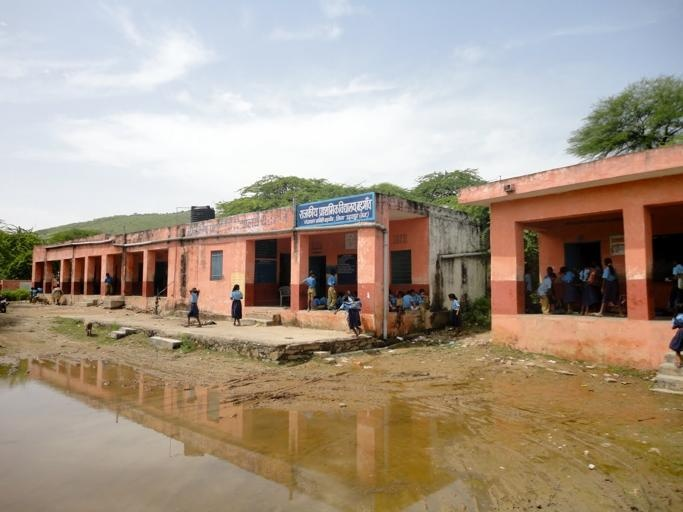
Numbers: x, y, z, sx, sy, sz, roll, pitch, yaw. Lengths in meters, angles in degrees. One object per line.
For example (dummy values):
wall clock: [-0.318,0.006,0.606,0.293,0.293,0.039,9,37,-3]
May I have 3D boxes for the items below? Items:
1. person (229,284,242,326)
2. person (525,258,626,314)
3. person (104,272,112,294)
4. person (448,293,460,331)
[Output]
person: [-3.479,1.617,16.415,0.314,1.307,0.810,-3,8,-14]
person: [6.496,0.822,13.659,0.925,0.918,1.560,15,-19,-23]
person: [-12.038,1.444,25.618,0.359,0.989,1.394,-5,7,-26]
person: [3.883,1.855,17.036,0.424,1.061,1.690,0,6,12]
